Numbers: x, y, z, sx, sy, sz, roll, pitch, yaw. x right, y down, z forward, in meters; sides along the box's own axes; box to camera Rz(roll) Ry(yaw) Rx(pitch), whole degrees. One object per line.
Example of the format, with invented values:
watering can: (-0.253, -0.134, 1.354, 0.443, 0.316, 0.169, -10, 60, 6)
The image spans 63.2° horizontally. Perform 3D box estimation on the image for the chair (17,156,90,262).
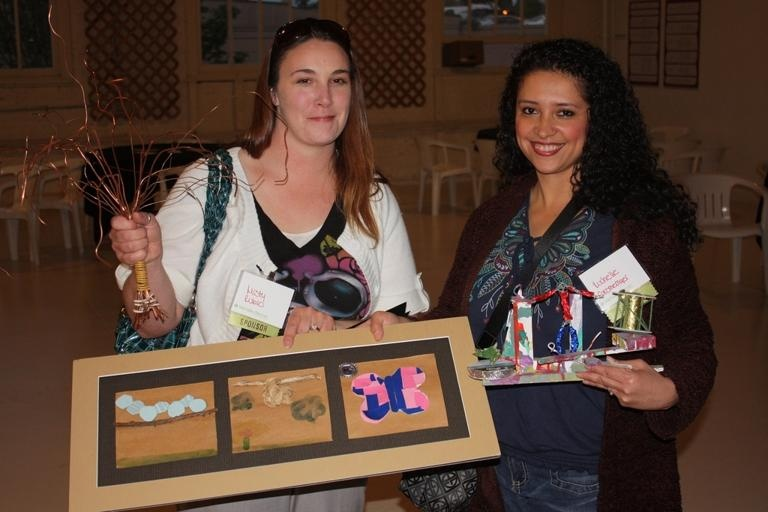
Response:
chair: (-3.778, -0.548, 7.153, 0.863, 1.085, 0.824, 3, 14, 22)

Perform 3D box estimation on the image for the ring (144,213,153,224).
ring: (-0.710, -0.112, 1.878, 0.026, 0.025, 0.008, 4, 0, -44)

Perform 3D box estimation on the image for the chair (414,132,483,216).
chair: (0.884, -1.128, 8.651, 0.825, 1.001, 0.847, 2, 16, 19)
